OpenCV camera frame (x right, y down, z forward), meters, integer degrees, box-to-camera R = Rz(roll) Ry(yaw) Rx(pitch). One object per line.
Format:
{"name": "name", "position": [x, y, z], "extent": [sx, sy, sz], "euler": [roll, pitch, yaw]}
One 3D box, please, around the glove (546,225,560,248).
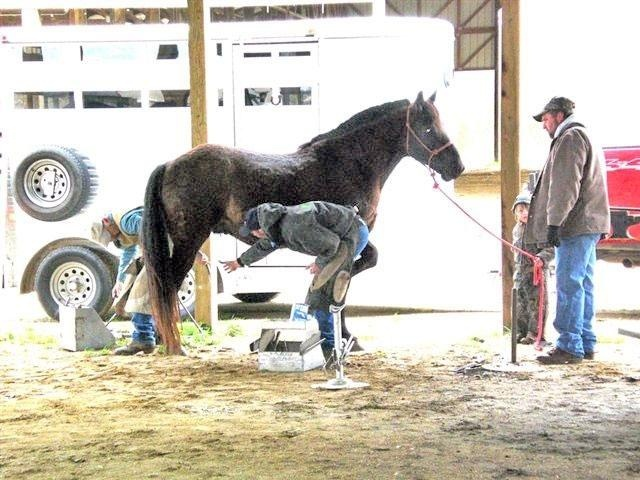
{"name": "glove", "position": [2.418, -0.021, 9.347], "extent": [0.057, 0.199, 0.137], "euler": [0, -13, 38]}

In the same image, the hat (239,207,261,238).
{"name": "hat", "position": [-0.689, -0.142, 8.946], "extent": [0.152, 0.278, 0.196], "euler": [41, 11, -26]}

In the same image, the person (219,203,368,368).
{"name": "person", "position": [-0.146, 0.420, 9.067], "extent": [1.451, 1.689, 0.817], "euler": [-13, 10, -21]}

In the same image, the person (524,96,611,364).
{"name": "person", "position": [2.635, -0.110, 9.561], "extent": [0.851, 2.746, 0.795], "euler": [1, 9, 12]}

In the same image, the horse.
{"name": "horse", "position": [-0.272, -0.273, 10.406], "extent": [2.868, 2.675, 0.930], "euler": [0, 0, -7]}

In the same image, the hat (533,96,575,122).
{"name": "hat", "position": [2.551, -1.403, 9.740], "extent": [0.328, 0.191, 0.227], "euler": [-1, 3, 11]}

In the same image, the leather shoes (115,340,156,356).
{"name": "leather shoes", "position": [-2.137, 1.254, 10.384], "extent": [0.441, 0.208, 0.171], "euler": [4, -1, -7]}

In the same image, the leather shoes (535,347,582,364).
{"name": "leather shoes", "position": [2.489, 1.234, 9.434], "extent": [0.477, 0.239, 0.178], "euler": [3, -1, 4]}
